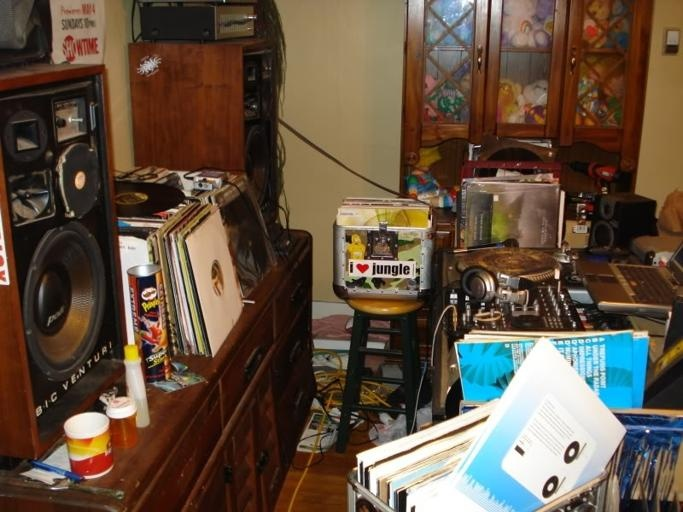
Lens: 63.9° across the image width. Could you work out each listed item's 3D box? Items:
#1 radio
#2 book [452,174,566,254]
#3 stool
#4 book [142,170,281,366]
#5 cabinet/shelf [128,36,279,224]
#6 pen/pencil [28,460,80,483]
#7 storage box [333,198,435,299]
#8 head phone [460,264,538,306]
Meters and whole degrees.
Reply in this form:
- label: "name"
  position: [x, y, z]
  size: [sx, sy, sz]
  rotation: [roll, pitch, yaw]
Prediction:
- label: "radio"
  position: [-0.547, -0.929, 2.169]
  size: [0.465, 0.169, 0.279]
  rotation: [-6, 16, -22]
- label: "book"
  position: [0.764, -0.192, 2.468]
  size: [0.523, 0.380, 0.294]
  rotation: [0, 12, 5]
- label: "stool"
  position: [0.202, 0.593, 2.666]
  size: [0.449, 0.883, 0.467]
  rotation: [2, 23, 6]
- label: "book"
  position: [-0.457, 0.033, 1.832]
  size: [0.161, 0.569, 0.400]
  rotation: [-16, -9, 25]
- label: "cabinet/shelf"
  position: [-0.489, -0.673, 2.708]
  size: [0.595, 1.155, 0.600]
  rotation: [0, 17, 3]
- label: "pen/pencil"
  position: [-0.634, 0.475, 1.209]
  size: [0.103, 0.021, 0.026]
  rotation: [15, 2, 17]
- label: "storage box"
  position: [0.175, -0.024, 2.374]
  size: [0.395, 0.423, 0.416]
  rotation: [1, 15, 1]
- label: "head phone"
  position: [0.543, 0.109, 1.954]
  size: [0.234, 0.096, 0.193]
  rotation: [22, 15, 31]
